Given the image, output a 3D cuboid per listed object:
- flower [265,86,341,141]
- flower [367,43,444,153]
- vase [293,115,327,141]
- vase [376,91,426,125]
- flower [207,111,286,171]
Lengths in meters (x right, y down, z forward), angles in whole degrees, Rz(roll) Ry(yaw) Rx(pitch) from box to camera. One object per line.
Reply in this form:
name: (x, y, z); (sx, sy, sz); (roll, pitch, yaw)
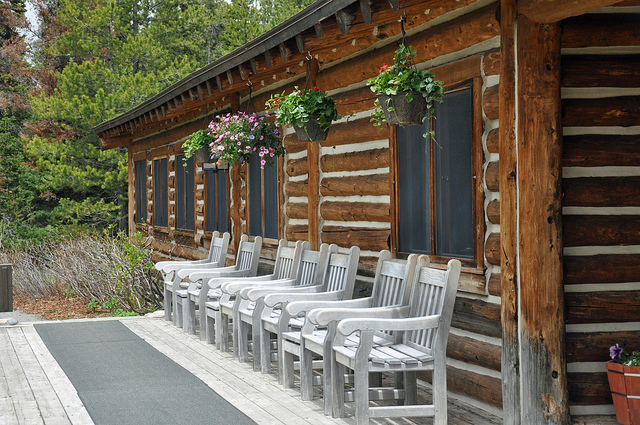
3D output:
flower: (-0.176, -1.035, 6.444); (0.680, 0.519, 0.722); (-4, 7, -38)
flower: (0.858, -1.142, 5.271); (0.491, 0.606, 0.534); (-2, 11, -26)
vase: (-0.111, -0.905, 6.443); (0.267, 0.158, 0.264); (2, -5, -38)
vase: (0.766, -0.867, 5.226); (0.287, 0.215, 0.357); (6, -10, -31)
flower: (-1.057, -0.972, 7.843); (1.074, 0.725, 0.804); (-1, 6, 6)
